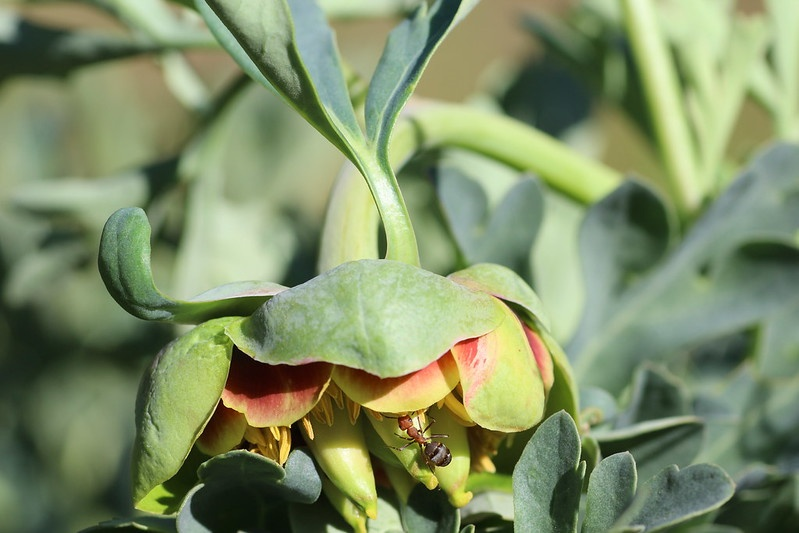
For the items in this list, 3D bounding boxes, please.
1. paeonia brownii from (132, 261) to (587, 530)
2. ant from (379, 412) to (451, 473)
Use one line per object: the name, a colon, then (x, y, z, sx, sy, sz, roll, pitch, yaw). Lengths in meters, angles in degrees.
paeonia brownii: (-0.055, 0.142, 1.038, 0.483, 0.242, 0.213, -6, 60, -16)
ant: (0.014, 0.184, 1.050, 0.072, 0.023, 0.052, 38, 32, 20)
